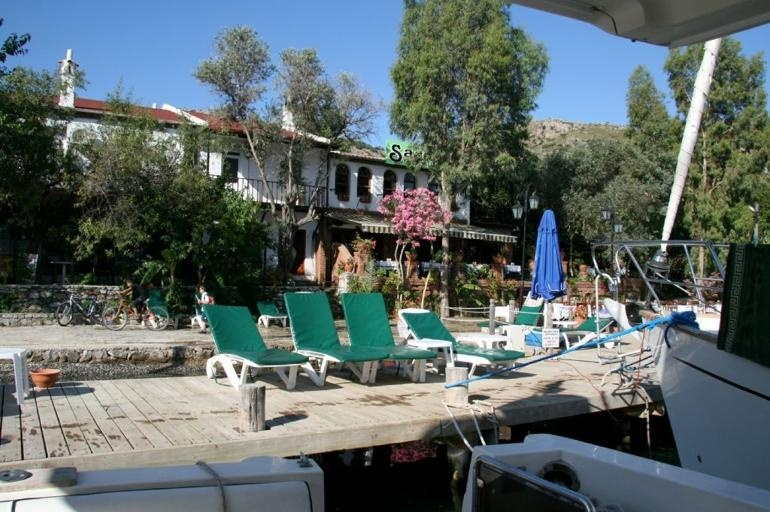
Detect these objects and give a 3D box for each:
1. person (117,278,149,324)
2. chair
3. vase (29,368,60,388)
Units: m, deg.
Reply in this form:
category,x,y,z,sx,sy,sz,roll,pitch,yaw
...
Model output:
category,x,y,z,sx,sy,sz,roll,pitch,yaw
person,-8.325,1.496,20.626,0.943,1.480,0.742,2,2,40
chair,-1.349,1.595,12.238,4.145,1.703,1.905,0,1,-19
vase,-6.044,2.165,11.255,0.363,0.242,0.381,4,-11,-16
